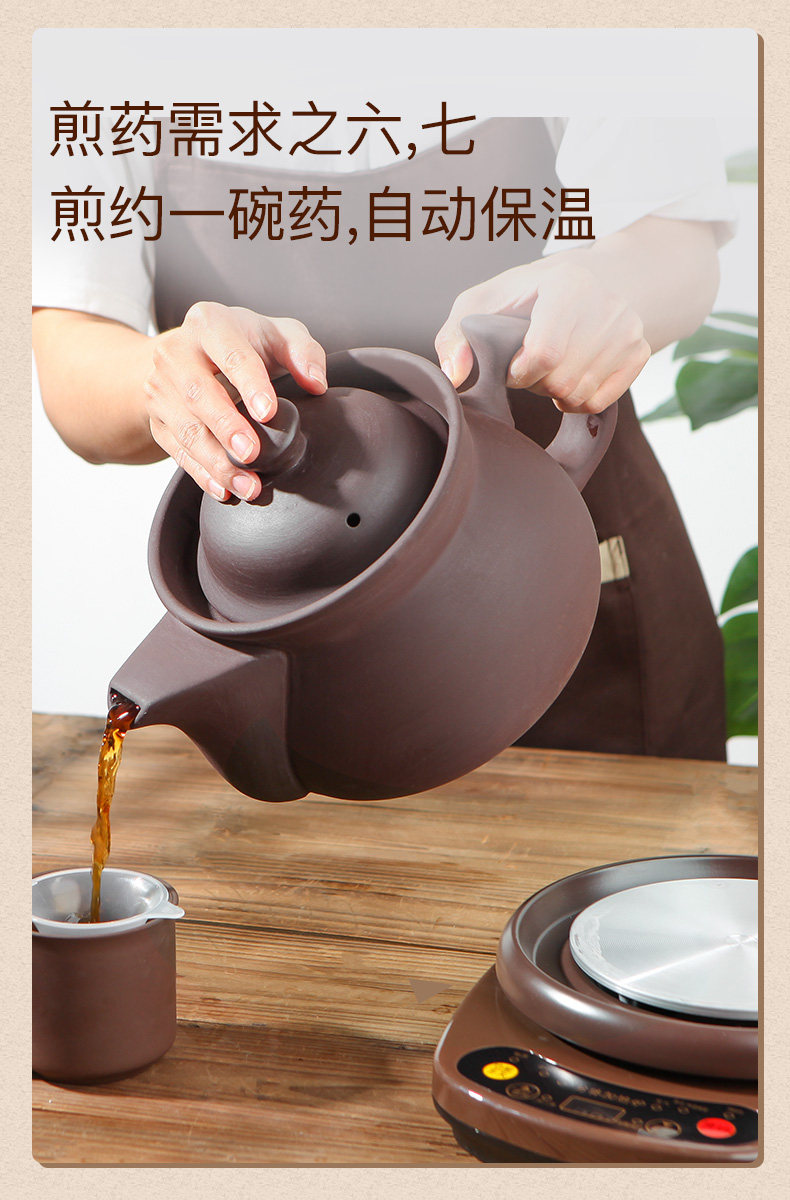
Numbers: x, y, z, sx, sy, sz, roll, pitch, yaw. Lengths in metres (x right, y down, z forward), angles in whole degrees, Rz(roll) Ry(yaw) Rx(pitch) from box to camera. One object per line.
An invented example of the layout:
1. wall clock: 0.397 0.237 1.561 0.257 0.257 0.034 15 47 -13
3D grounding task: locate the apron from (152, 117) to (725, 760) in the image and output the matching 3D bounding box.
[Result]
1. apron: 0.062 -0.099 0.725 0.434 0.482 0.157 0 -1 1

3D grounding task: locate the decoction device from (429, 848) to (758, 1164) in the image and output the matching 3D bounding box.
1. decoction device: 0.166 0.274 0.799 0.205 0.110 0.284 8 23 24

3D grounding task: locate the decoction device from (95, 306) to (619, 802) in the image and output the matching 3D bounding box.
1. decoction device: -0.031 -0.015 0.780 0.333 0.315 0.228 -8 23 -13
